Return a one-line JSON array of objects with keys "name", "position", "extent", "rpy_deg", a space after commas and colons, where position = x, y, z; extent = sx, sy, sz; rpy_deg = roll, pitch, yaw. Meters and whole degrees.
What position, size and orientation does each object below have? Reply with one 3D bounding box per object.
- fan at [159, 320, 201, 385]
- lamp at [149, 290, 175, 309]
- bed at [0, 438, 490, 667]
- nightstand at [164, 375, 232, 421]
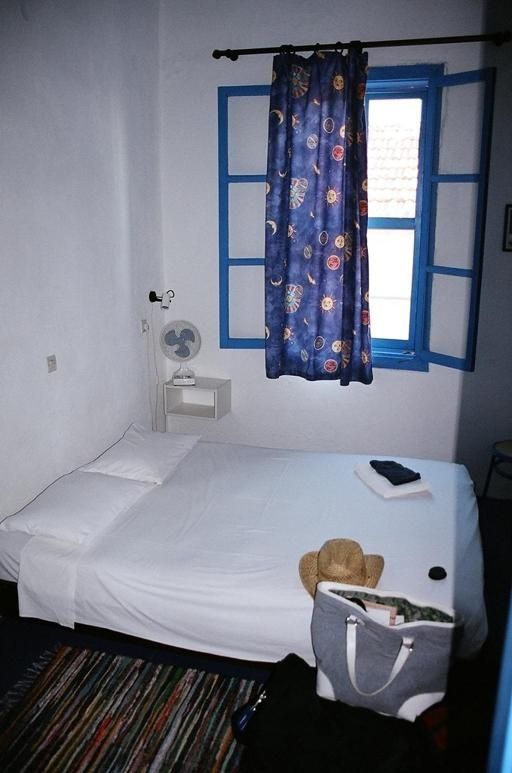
[{"name": "fan", "position": [-0.507, -0.239, 4.065], "extent": [0.249, 0.453, 0.317], "rpy_deg": [-1, 15, -9]}, {"name": "lamp", "position": [-0.609, -0.575, 4.052], "extent": [0.135, 0.150, 0.315], "rpy_deg": [2, 15, 3]}, {"name": "bed", "position": [-0.023, 0.675, 2.485], "extent": [1.405, 0.359, 1.113], "rpy_deg": [2, 16, 13]}, {"name": "nightstand", "position": [-0.384, 0.088, 4.192], "extent": [0.473, 0.300, 0.270], "rpy_deg": [5, 14, 27]}]
